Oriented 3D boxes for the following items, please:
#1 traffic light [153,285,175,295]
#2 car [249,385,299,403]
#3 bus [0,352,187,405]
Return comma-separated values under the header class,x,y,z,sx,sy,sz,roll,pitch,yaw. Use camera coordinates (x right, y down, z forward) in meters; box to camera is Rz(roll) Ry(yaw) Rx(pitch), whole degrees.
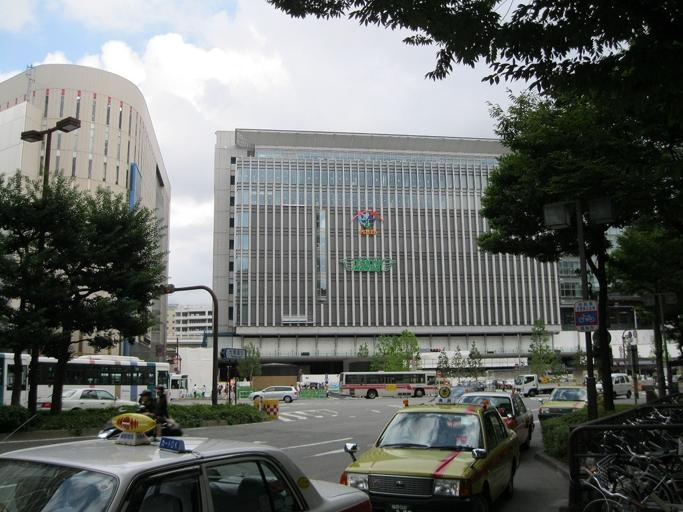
class,x,y,z,sx,sy,sz,roll,pitch,yaw
traffic light,-7.568,1.403,28.596,0.747,0.488,0.626,1,-11,-15
car,-5.609,11.618,56.224,3.297,1.330,4.612,-2,-10,0
bus,-13.870,6.443,36.106,2.217,2.532,9.593,-9,-15,33
